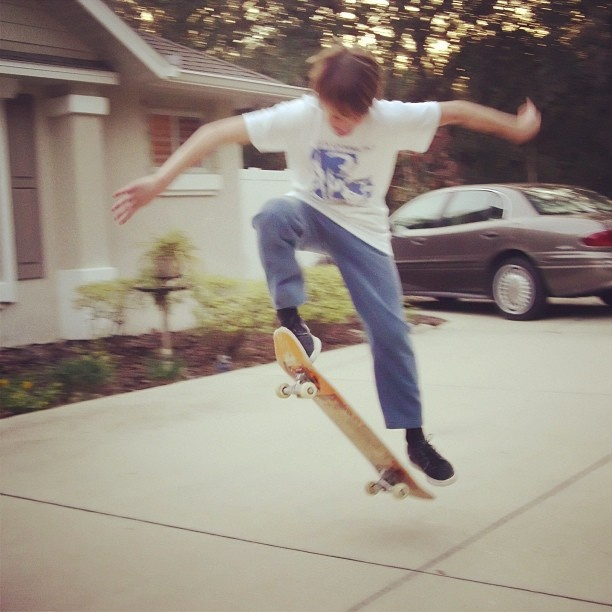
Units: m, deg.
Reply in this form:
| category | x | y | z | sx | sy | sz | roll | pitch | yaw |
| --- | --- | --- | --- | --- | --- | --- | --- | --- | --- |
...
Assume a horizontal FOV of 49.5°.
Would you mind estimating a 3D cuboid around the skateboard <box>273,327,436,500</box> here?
| category | x | y | z | sx | sy | sz | roll | pitch | yaw |
| --- | --- | --- | --- | --- | --- | --- | --- | --- | --- |
| skateboard | 0.201 | 0.502 | 2.934 | 0.190 | 1.075 | 0.229 | -55 | 9 | -27 |

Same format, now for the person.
| category | x | y | z | sx | sy | sz | roll | pitch | yaw |
| --- | --- | --- | --- | --- | --- | --- | --- | --- | --- |
| person | 0.086 | -0.118 | 2.450 | 1.328 | 1.577 | 0.511 | -1 | 15 | -15 |
